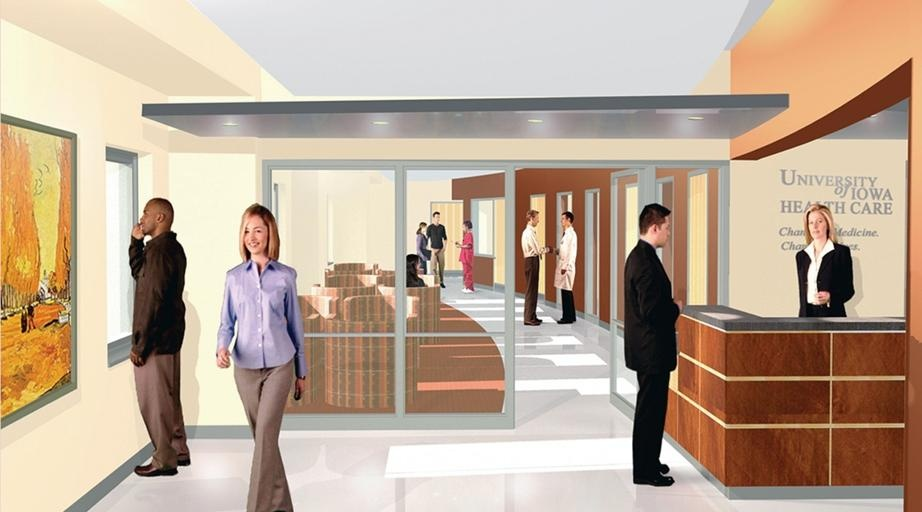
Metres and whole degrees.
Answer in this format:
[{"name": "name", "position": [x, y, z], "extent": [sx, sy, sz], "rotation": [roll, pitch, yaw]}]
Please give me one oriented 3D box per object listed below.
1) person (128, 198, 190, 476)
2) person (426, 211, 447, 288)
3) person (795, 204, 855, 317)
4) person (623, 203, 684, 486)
[{"name": "person", "position": [-3.379, 0.934, 6.666], "extent": [0.606, 3.159, 0.392], "rotation": [-3, 5, -27]}, {"name": "person", "position": [-0.649, -0.366, 15.967], "extent": [0.507, 1.691, 1.255], "rotation": [-1, 5, -2]}, {"name": "person", "position": [4.467, 0.057, 7.305], "extent": [0.590, 1.378, 0.314], "rotation": [2, 5, 27]}, {"name": "person", "position": [2.063, 0.993, 6.514], "extent": [0.571, 3.125, 0.402], "rotation": [1, 5, 21]}]
